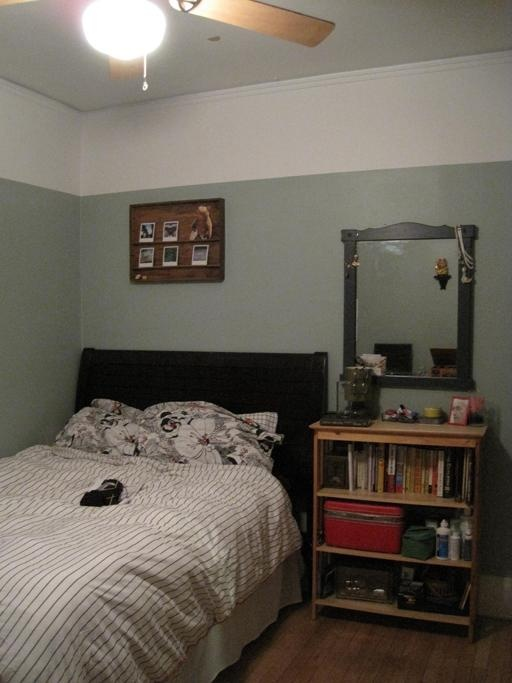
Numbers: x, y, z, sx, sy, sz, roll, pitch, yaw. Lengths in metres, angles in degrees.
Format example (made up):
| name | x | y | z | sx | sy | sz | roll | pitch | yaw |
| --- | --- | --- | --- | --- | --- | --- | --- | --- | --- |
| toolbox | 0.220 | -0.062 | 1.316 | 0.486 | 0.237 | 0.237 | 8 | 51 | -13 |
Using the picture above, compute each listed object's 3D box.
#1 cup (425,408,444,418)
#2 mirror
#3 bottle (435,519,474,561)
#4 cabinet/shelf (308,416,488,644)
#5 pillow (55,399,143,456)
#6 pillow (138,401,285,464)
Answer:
| name | x | y | z | sx | sy | sz | roll | pitch | yaw |
| --- | --- | --- | --- | --- | --- | --- | --- | --- | --- |
| cup | 0.874 | 0.345 | 2.651 | 0.057 | 0.031 | 0.055 | 2 | -1 | 0 |
| mirror | 0.791 | -0.199 | 2.866 | 0.711 | 0.868 | 0.076 | 3 | 7 | 33 |
| bottle | 0.910 | 0.897 | 2.514 | 0.183 | 0.192 | 0.137 | 1 | -2 | 41 |
| cabinet/shelf | 0.674 | 0.880 | 2.526 | 1.011 | 1.163 | 0.464 | 0 | -3 | 15 |
| pillow | -0.821 | 0.472 | 2.905 | 0.311 | 0.093 | 0.315 | 4 | 22 | 7 |
| pillow | -0.261 | 0.522 | 2.837 | 0.738 | 0.186 | 0.470 | -1 | 34 | 5 |
